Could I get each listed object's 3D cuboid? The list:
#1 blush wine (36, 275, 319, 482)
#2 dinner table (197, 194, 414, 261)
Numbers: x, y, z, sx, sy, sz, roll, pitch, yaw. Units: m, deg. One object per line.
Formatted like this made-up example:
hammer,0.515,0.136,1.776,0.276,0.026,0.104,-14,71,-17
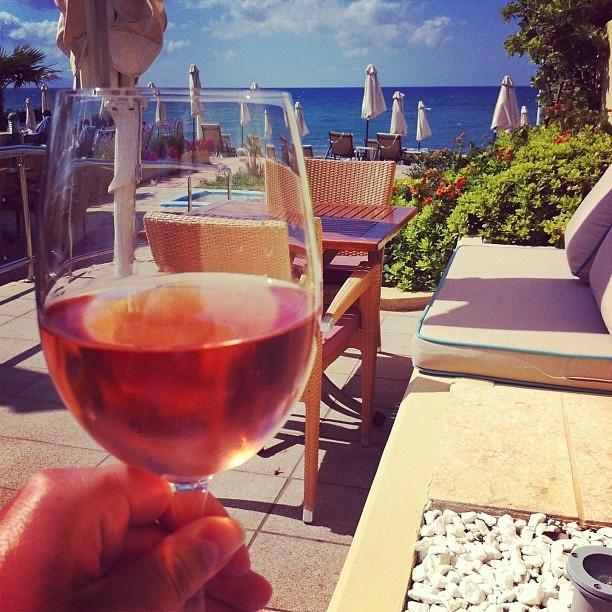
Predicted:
blush wine,-0.093,0.060,0.363,0.173,0.150,0.146,7,17,23
dinner table,0.163,-0.465,3.334,0.612,0.199,0.870,8,-5,-39
